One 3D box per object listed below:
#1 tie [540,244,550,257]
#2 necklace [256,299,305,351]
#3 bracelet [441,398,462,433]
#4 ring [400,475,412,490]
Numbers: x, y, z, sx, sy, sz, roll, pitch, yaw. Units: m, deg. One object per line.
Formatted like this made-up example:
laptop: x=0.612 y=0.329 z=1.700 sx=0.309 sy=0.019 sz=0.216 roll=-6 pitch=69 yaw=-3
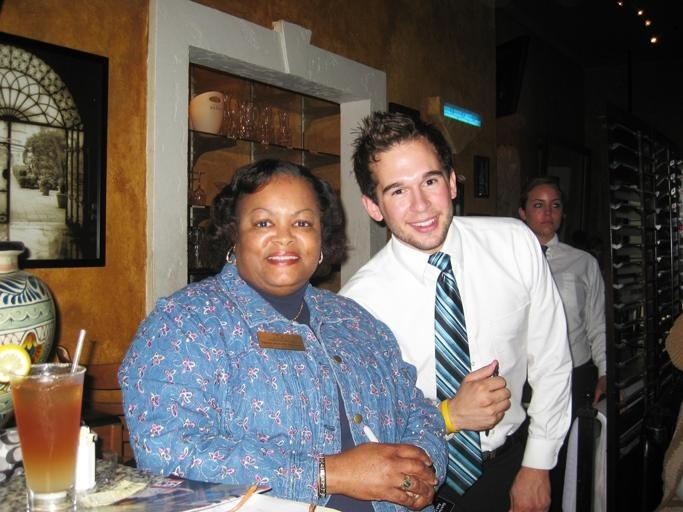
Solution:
tie: x=1.347 y=-0.040 z=3.726 sx=0.060 sy=0.122 sz=0.092 roll=-2 pitch=2 yaw=13
necklace: x=-0.217 y=0.238 z=1.926 sx=0.156 sy=0.179 sz=0.008 roll=13 pitch=-38 yaw=-20
bracelet: x=0.401 y=0.604 z=2.142 sx=0.037 sy=0.106 sz=0.088 roll=-9 pitch=-20 yaw=-8
ring: x=0.200 y=0.703 z=1.756 sx=0.039 sy=0.040 sz=0.012 roll=9 pitch=-10 yaw=-34
